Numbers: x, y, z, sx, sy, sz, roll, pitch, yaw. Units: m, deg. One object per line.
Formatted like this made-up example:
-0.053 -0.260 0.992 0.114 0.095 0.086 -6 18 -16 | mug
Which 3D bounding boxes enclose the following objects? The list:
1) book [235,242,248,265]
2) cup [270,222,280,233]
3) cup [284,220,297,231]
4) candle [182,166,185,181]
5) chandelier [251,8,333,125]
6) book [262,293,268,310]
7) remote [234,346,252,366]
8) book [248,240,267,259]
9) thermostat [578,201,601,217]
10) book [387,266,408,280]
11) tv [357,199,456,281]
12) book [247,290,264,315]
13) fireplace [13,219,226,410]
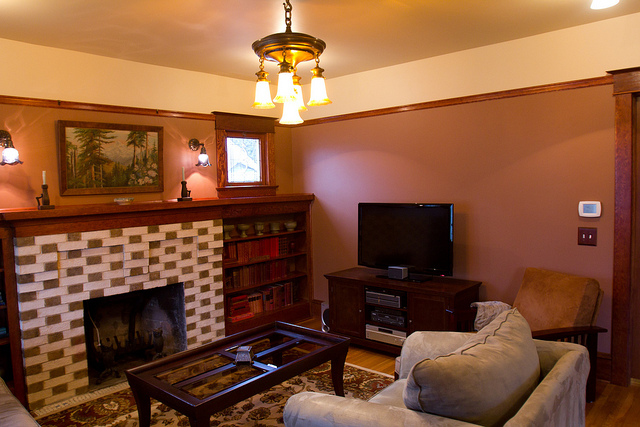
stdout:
-0.997 0.495 5.868 0.146 0.237 0.063 -4 6 -23 | book
-0.619 0.190 6.319 0.133 0.134 0.129 2 0 0 | cup
-0.420 0.169 6.398 0.136 0.098 0.133 2 0 0 | cup
-1.626 -0.473 5.459 0.029 0.173 0.205 -4 5 -17 | candle
-0.250 -1.132 3.770 0.654 0.939 0.717 6 5 1 | chandelier
-0.735 1.166 6.090 0.039 0.158 0.157 -17 1 3 | book
-0.656 1.205 3.899 0.134 0.097 0.151 0 -2 3 | remote
-0.817 0.456 6.048 0.210 0.264 0.285 -2 -2 26 | book
2.679 -0.045 4.560 0.160 0.137 0.058 1 4 39 | thermostat
0.894 0.686 5.307 0.215 0.120 0.131 4 0 41 | book
1.042 0.319 5.340 0.968 0.644 0.097 5 4 38 | tv
-0.838 1.152 6.058 0.245 0.300 0.323 -2 -1 23 | book
-2.222 0.983 4.790 2.571 1.596 0.755 1 3 -41 | fireplace
